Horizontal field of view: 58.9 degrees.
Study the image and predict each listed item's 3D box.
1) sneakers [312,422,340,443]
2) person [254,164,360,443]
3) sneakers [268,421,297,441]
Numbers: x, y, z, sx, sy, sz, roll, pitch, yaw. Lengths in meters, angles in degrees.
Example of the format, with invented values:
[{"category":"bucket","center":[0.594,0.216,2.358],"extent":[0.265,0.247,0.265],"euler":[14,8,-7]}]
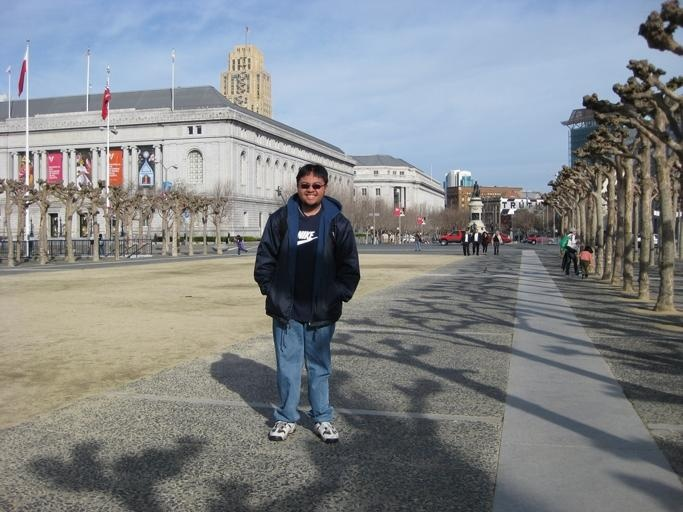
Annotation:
[{"category":"sneakers","center":[-0.140,1.643,5.680],"extent":[0.115,0.099,0.236],"euler":[1,-6,-18]},{"category":"person","center":[-0.323,0.436,5.709],"extent":[0.969,2.551,0.413],"euler":[-1,3,-4]},{"category":"sneakers","center":[-0.565,1.661,5.742],"extent":[0.108,0.134,0.298],"euler":[0,-19,10]}]
